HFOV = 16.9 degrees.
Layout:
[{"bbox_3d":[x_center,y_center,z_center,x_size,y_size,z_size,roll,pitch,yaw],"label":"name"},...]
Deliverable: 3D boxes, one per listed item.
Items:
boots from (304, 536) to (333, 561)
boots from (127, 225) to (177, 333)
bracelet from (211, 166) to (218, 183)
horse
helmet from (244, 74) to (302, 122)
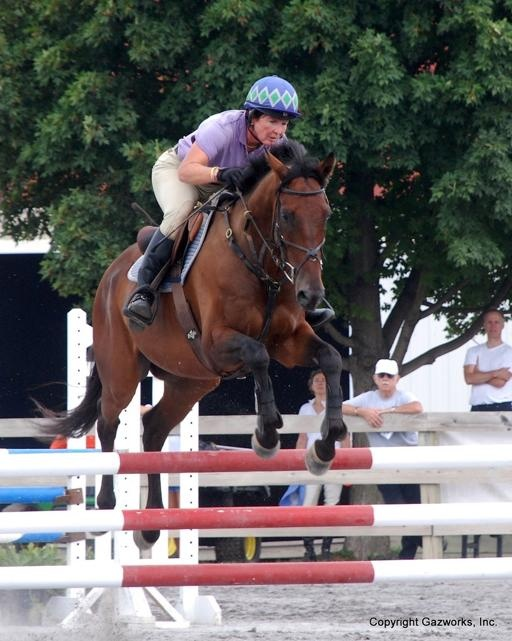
[{"bbox_3d":[0.468,1.736,12.797,0.202,0.235,0.210,1,4,2],"label":"boots"},{"bbox_3d":[-0.615,-0.257,10.266,0.195,0.656,0.200,21,19,-2],"label":"boots"},{"bbox_3d":[-0.230,-0.840,9.939,0.024,0.065,0.066,5,-11,4],"label":"bracelet"},{"bbox_3d":[-0.253,0.238,10.391,0.821,2.547,2.244,-3,2,-29],"label":"horse"},{"bbox_3d":[0.122,-1.323,10.168,0.324,0.263,0.445,9,7,-4],"label":"helmet"}]
